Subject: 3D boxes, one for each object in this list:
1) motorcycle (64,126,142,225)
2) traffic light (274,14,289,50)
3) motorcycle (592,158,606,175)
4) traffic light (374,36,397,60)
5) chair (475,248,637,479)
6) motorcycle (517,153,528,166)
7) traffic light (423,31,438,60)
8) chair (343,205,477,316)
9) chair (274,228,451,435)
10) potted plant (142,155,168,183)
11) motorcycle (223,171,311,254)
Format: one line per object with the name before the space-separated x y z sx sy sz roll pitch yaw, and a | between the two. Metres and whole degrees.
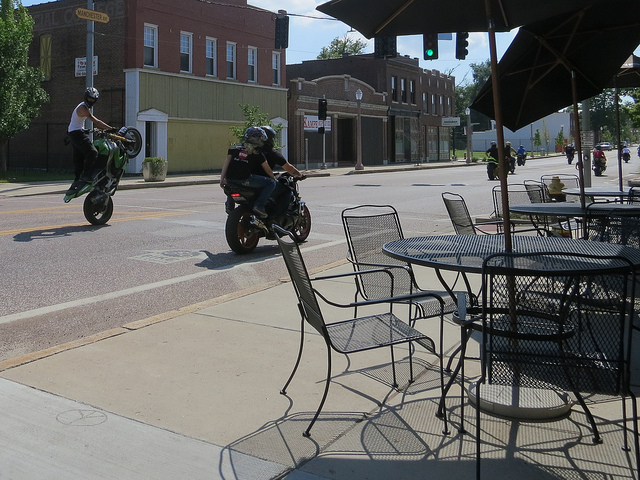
motorcycle | -5.051 -1.565 13.748 0.959 2.209 1.943 1 9 5
traffic light | -1.752 -9.671 26.571 0.554 1.489 0.532 1 8 4
motorcycle | 17.410 -4.728 36.327 0.740 0.972 1.566 5 23 34
traffic light | 2.629 -7.725 23.207 0.826 0.975 2.658 1 10 4
chair | 1.628 0.677 3.893 1.057 1.399 1.440 3 9 17
motorcycle | 16.718 -6.669 47.627 0.731 0.816 1.212 -1 2 12
traffic light | 4.235 -7.574 22.241 0.499 1.474 0.346 1 -23 4
chair | 0.737 0.231 5.258 1.328 1.210 0.876 8 9 44
chair | 0.409 0.672 5.281 1.436 2.090 1.428 -5 5 -9
potted plant | -7.883 -3.396 27.749 1.042 1.373 1.100 3 4 41
motorcycle | -0.867 -0.611 10.878 1.010 1.517 2.343 4 8 36
